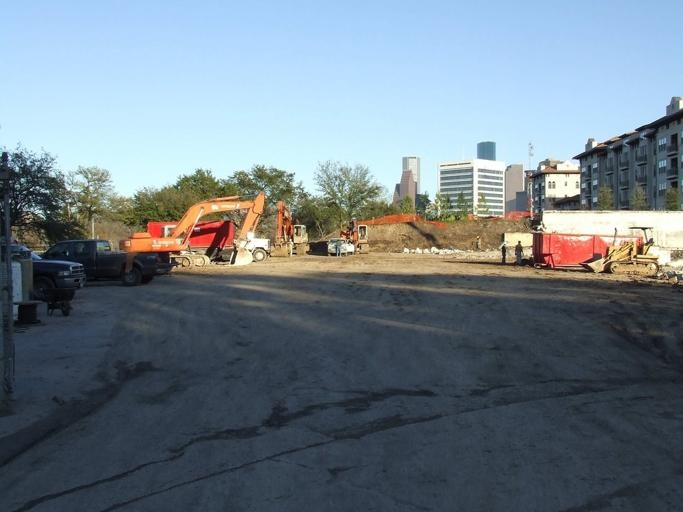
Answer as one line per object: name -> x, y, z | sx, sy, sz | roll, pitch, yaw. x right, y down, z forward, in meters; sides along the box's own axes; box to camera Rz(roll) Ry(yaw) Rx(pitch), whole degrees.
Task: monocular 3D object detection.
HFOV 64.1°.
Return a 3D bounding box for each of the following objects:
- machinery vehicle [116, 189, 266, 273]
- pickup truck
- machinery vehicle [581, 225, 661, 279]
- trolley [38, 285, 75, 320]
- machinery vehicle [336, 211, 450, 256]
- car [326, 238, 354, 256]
machinery vehicle -> -8.956, -1.875, 37.071 | 11.228, 4.971, 6.898 | -4, 5, -39
pickup truck -> -10.491, 0.260, 23.112 | 5.262, 1.965, 2.548 | -2, 4, -20
machinery vehicle -> 15.103, -0.180, 29.443 | 3.761, 2.608, 2.550 | 1, -1, 4
trolley -> -7.540, 1.190, 14.757 | 1.025, 0.820, 0.920 | -1, 0, -2
machinery vehicle -> 5.715, -4.532, 67.406 | 11.056, 4.010, 6.372 | 1, -3, -5
car -> 0.005, -0.903, 53.008 | 1.575, 1.617, 3.206 | 2, 5, 39
